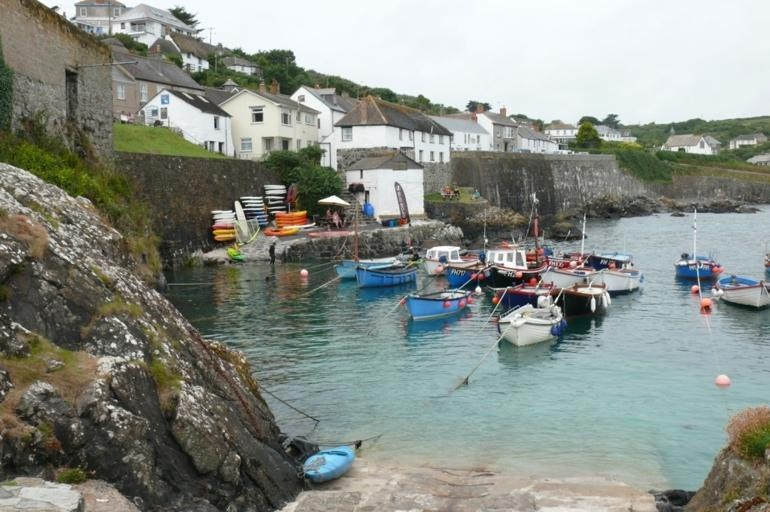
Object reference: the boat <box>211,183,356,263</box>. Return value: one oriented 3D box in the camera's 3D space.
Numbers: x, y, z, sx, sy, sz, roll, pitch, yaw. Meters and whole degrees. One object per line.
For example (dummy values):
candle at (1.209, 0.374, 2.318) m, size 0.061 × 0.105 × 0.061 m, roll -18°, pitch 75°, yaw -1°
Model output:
boat at (-7.786, -2.361, 71.278) m, size 4.106 × 3.572 × 10.317 m, roll 5°, pitch 12°, yaw 21°

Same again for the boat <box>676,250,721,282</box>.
boat at (18.274, 0.679, 62.768) m, size 2.467 × 1.344 × 2.031 m, roll 3°, pitch 11°, yaw 8°

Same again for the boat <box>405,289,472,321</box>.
boat at (2.742, 2.325, 54.633) m, size 1.115 × 1.278 × 3.720 m, roll 12°, pitch 16°, yaw 44°

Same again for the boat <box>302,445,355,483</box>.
boat at (-2.134, 7.792, 40.586) m, size 1.817 × 1.198 × 1.437 m, roll -1°, pitch -2°, yaw 12°
